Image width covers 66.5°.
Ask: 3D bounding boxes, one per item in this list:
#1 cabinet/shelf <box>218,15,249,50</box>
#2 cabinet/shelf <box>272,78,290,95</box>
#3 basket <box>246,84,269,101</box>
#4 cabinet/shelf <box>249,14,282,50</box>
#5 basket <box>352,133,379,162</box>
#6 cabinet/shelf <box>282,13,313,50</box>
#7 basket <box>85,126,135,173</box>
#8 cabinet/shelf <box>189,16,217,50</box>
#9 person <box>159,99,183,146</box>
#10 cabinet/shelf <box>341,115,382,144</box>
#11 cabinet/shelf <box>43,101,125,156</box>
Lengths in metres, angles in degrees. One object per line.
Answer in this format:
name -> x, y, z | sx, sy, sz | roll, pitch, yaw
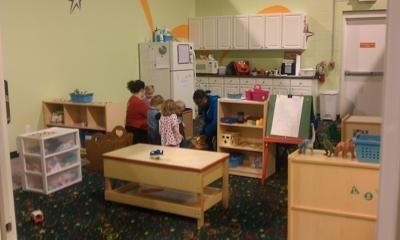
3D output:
cabinet/shelf -> 1.172, -2.755, 9.680 | 1.163, 1.037, 0.684 | 7, 18, 26
cabinet/shelf -> 2.356, -0.960, 8.776 | 0.457, 0.642, 0.449 | 4, 5, 40
basket -> 1.009, -0.455, 5.374 | 0.350, 0.265, 0.354 | 4, 6, 29
cabinet/shelf -> 1.872, -2.660, 9.325 | 1.157, 1.043, 0.657 | -5, 11, -15
basket -> 1.631, 0.270, 2.990 | 0.232, 0.199, 0.298 | 4, 9, 29
cabinet/shelf -> 2.689, -2.542, 8.723 | 0.668, 0.942, 0.250 | 0, 14, 1
basket -> -1.877, 0.558, 5.657 | 0.673, 0.612, 0.375 | -2, 4, -25
cabinet/shelf -> 0.168, -2.828, 9.993 | 1.080, 1.018, 0.362 | 8, 15, 29
person -> -0.521, 0.055, 5.312 | 0.382, 0.829, 0.230 | -1, 14, -5
cabinet/shelf -> 2.124, 0.125, 4.020 | 0.356, 0.258, 0.219 | 4, 11, 28
cabinet/shelf -> -2.498, 0.023, 6.380 | 1.390, 0.678, 0.447 | 5, 10, 11
